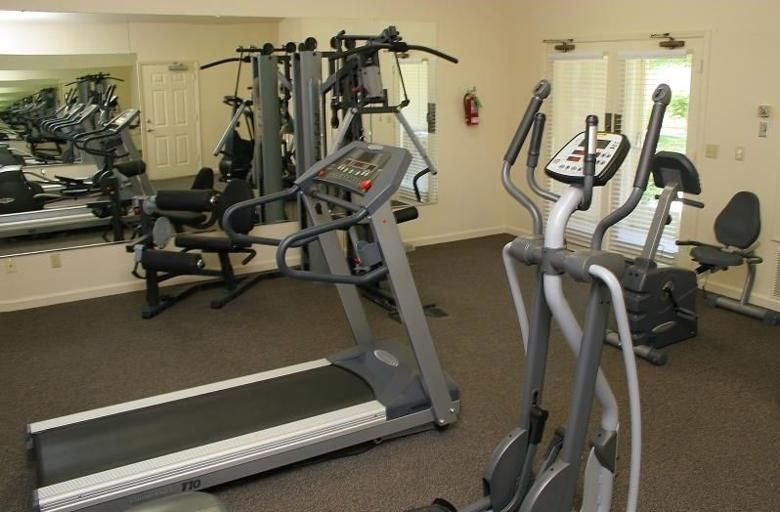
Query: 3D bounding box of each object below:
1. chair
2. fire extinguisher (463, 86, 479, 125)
[{"bbox_3d":[3.271,0.002,5.597,0.815,1.107,0.798,18,27,41],"label":"chair"},{"bbox_3d":[1.058,-1.916,7.669,0.205,0.477,0.145,-18,27,-39],"label":"fire extinguisher"}]
